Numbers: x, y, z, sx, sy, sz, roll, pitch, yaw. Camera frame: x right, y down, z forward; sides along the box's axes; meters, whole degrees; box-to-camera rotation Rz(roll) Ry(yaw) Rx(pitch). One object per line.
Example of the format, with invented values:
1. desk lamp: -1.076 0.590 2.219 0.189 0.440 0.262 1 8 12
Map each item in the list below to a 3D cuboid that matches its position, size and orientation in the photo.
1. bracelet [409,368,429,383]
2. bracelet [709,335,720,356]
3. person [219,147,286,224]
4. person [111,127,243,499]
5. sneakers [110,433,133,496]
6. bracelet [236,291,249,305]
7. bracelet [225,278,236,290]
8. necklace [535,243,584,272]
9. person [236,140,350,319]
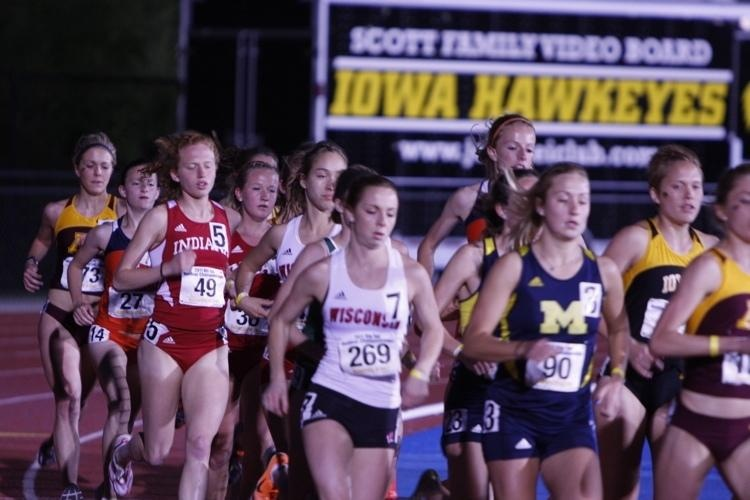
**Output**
1. bracelet: 0.323 0.905 6.194 0.099 0.028 0.101 33 6 5
2. bracelet: 2.327 0.655 5.870 0.072 0.132 0.041 4 6 23
3. person: -1.174 -0.646 8.765 0.588 0.765 0.706 1 5 -13
4. person: -1.630 0.501 7.257 0.873 2.995 0.784 3 5 7
5. sneakers: -2.291 1.960 7.782 0.188 0.605 0.226 -1 1 -38
6. bracelet: -1.129 0.411 7.290 0.060 0.098 0.097 46 16 18
7. bracelet: -1.253 0.302 7.535 0.098 0.092 0.085 -2 -3 -8
8. necklace: 1.319 0.072 6.117 0.298 0.197 0.143 4 -4 4
9. person: -0.524 -0.120 7.411 1.352 1.650 0.830 4 11 -15
